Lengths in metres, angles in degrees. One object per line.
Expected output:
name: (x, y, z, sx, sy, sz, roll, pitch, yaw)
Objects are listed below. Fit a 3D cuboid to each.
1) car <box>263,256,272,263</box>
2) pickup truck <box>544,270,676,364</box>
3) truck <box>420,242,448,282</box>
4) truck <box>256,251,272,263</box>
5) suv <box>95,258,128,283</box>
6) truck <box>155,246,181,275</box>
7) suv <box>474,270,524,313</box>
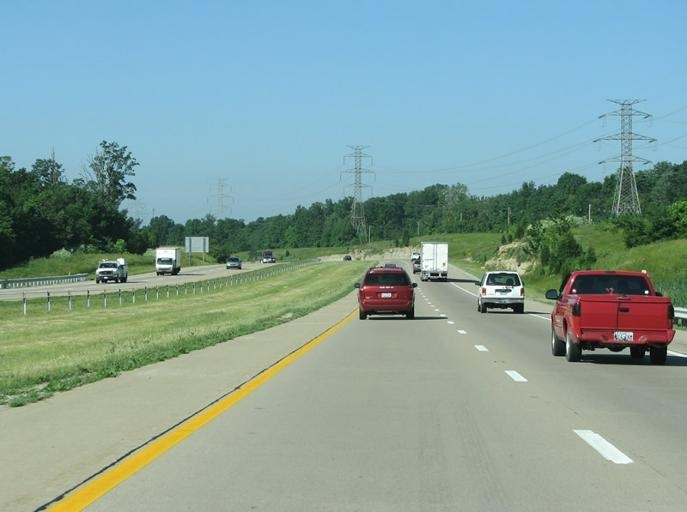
car: (-11.788, 0.504, 138.515, 0.976, 0.916, 2.013, 1, 2, 31)
pickup truck: (5.612, 1.298, 18.959, 2.188, 1.892, 2.550, 1, 2, 10)
truck: (7.802, 0.508, 77.335, 2.191, 3.405, 3.783, 0, 2, 3)
truck: (-12.005, 0.146, 139.350, 1.483, 1.465, 2.589, 1, -4, -10)
suv: (-19.549, 1.265, 75.642, 1.416, 1.626, 3.136, -1, -4, 1)
truck: (-17.824, 0.609, 90.850, 1.572, 2.109, 3.587, 0, -2, -1)
suv: (6.408, 1.462, 36.365, 1.708, 1.755, 2.033, 1, 2, 5)
